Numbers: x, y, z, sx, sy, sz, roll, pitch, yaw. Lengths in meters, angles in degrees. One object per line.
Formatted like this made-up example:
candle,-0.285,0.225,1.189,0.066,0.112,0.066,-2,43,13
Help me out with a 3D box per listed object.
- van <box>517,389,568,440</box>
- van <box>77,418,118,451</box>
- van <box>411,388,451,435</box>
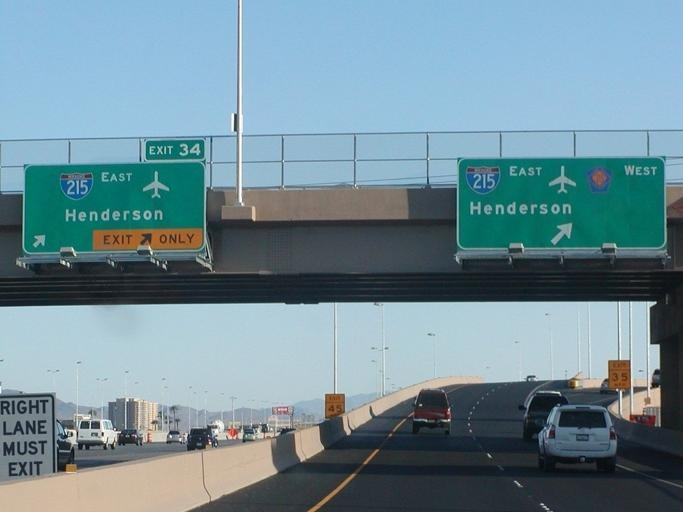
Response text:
van,9.547,7.523,77.998,1.681,1.728,3.040,0,2,3
van,-13.901,10.195,94.115,1.255,1.350,2.527,0,0,8
van,4.810,8.212,86.715,1.896,2.385,2.444,-1,-7,2
